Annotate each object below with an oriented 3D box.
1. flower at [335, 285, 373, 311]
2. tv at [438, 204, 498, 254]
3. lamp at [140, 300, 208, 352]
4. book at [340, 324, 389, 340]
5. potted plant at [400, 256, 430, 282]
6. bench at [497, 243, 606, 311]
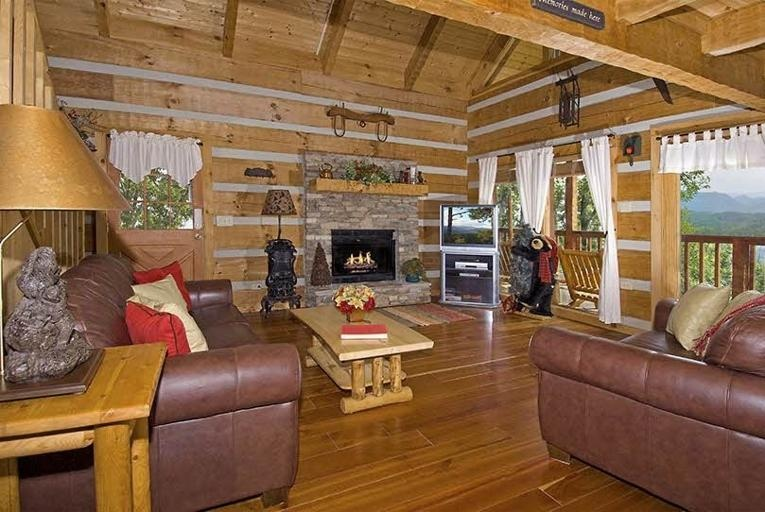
[{"bbox_3d":[-0.222,0.387,4.415,0.299,0.164,0.286,1,2,-39],"label":"flower"},{"bbox_3d":[1.293,-0.391,7.166,0.830,0.537,0.081,1,-2,29],"label":"tv"},{"bbox_3d":[-1.299,0.429,3.145,0.123,0.377,0.341,-34,-11,2],"label":"lamp"},{"bbox_3d":[-0.157,0.632,4.100,0.378,0.087,0.311,-2,4,-5],"label":"book"},{"bbox_3d":[0.552,0.209,7.565,0.412,0.361,0.391,3,-4,-30],"label":"potted plant"},{"bbox_3d":[2.185,0.291,6.740,0.961,1.290,1.067,2,-2,-7],"label":"bench"}]
